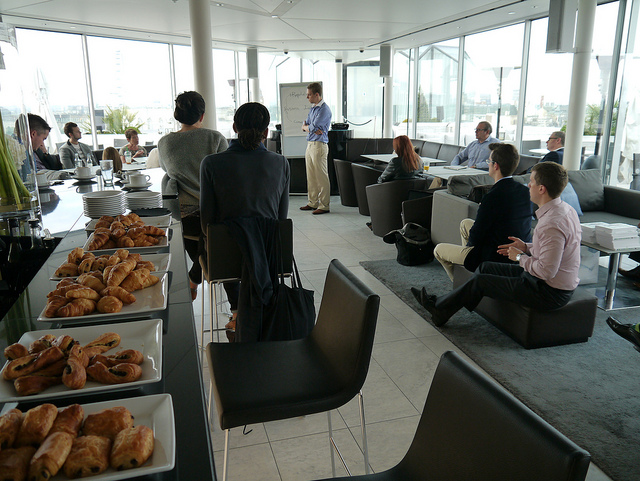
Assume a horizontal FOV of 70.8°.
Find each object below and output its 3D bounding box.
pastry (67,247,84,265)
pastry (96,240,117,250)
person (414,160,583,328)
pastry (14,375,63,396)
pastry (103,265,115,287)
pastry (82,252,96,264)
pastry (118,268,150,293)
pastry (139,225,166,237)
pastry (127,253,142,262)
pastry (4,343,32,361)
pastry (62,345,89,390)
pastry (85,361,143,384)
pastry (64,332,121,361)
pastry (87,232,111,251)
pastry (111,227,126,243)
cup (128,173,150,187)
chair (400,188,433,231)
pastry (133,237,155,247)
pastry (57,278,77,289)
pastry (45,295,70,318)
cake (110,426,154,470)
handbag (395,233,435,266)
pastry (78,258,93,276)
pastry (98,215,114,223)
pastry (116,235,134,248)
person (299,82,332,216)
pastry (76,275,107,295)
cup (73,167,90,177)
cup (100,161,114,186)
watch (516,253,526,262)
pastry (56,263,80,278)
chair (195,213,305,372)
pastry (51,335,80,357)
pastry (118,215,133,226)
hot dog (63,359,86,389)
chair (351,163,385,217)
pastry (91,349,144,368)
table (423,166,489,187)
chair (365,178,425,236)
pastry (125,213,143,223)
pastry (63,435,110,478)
[{"bbox_3d":[-0.952,0.062,1.752,0.061,0.064,0.023,3,-8,24],"label":"pastry"},{"bbox_3d":[-0.930,0.019,1.978,0.032,0.025,0.064,19,29,26],"label":"pastry"},{"bbox_3d":[1.451,-0.072,3.699,1.357,1.553,0.682,11,21,44],"label":"person"},{"bbox_3d":[-0.683,0.339,1.080,0.079,0.033,0.047,-5,23,-25],"label":"pastry"},{"bbox_3d":[-0.719,0.112,1.541,0.045,0.029,0.088,5,10,1],"label":"pastry"},{"bbox_3d":[-0.874,0.062,1.694,0.044,0.047,0.014,7,9,34],"label":"pastry"},{"bbox_3d":[-0.652,0.133,1.573,0.058,0.044,0.110,-18,14,17],"label":"pastry"},{"bbox_3d":[-0.783,-0.051,2.143,0.083,0.033,0.049,8,9,10],"label":"pastry"},{"bbox_3d":[-0.714,0.057,1.735,0.038,0.015,0.038,8,10,-7],"label":"pastry"},{"bbox_3d":[-0.786,0.283,1.154,0.041,0.021,0.055,1,5,-8],"label":"pastry"},{"bbox_3d":[-0.597,0.312,1.120,0.066,0.048,0.159,4,47,-24],"label":"pastry"},{"bbox_3d":[-0.519,0.326,1.121,0.083,0.033,0.064,3,2,-4],"label":"pastry"},{"bbox_3d":[-0.606,0.279,1.228,0.125,0.044,0.109,3,10,8],"label":"pastry"},{"bbox_3d":[-0.963,-0.001,1.957,0.059,0.043,0.114,-18,21,5],"label":"pastry"},{"bbox_3d":[-0.914,-0.021,2.016,0.045,0.020,0.061,-1,13,-8],"label":"pastry"},{"bbox_3d":[-1.353,-0.449,3.370,0.158,0.112,0.120,-2,9,-23],"label":"cup"},{"bbox_3d":[1.191,-0.342,5.212,0.435,0.430,0.424,10,-9,-23],"label":"chair"},{"bbox_3d":[-0.808,0.007,2.026,0.070,0.026,0.038,7,16,5],"label":"pastry"},{"bbox_3d":[-0.856,0.137,1.509,0.038,0.013,0.038,-9,16,-40],"label":"pastry"},{"bbox_3d":[-0.811,0.191,1.380,0.048,0.036,0.091,-1,25,-21],"label":"pastry"},{"bbox_3d":[-0.398,0.429,0.963,0.081,0.044,0.120,7,9,-6],"label":"cake"},{"bbox_3d":[1.040,0.051,5.026,0.515,0.381,0.387,-5,5,-20],"label":"handbag"},{"bbox_3d":[-0.860,0.093,1.645,0.042,0.055,0.017,2,-28,0],"label":"pastry"},{"bbox_3d":[-1.089,-0.109,2.282,0.056,0.019,0.061,0,9,-15],"label":"pastry"},{"bbox_3d":[-0.875,0.002,1.993,0.077,0.031,0.041,9,16,43],"label":"pastry"},{"bbox_3d":[-0.025,-1.473,7.331,0.468,2.036,0.530,-6,18,-11],"label":"person"},{"bbox_3d":[-0.768,0.137,1.497,0.098,0.041,0.052,18,7,17],"label":"pastry"},{"bbox_3d":[-2.125,-0.609,3.983,0.101,0.075,0.077,-4,15,-21],"label":"cup"},{"bbox_3d":[-1.636,-0.517,3.454,0.081,0.197,0.192,-11,19,-25],"label":"cup"},{"bbox_3d":[1.438,0.113,3.217,0.061,0.049,0.043,-15,21,-34],"label":"watch"},{"bbox_3d":[-0.928,0.109,1.660,0.081,0.034,0.070,4,19,20],"label":"pastry"},{"bbox_3d":[-0.450,0.009,2.738,0.545,1.000,0.520,-1,-12,-11],"label":"chair"},{"bbox_3d":[-0.668,0.267,1.183,0.052,0.021,0.055,0,12,-33],"label":"pastry"},{"bbox_3d":[-0.958,-0.106,2.207,0.048,0.023,0.065,3,24,-25],"label":"pastry"},{"bbox_3d":[-0.600,0.325,1.095,0.048,0.066,0.026,-3,-20,-7],"label":"hot dog"},{"bbox_3d":[0.892,-0.837,7.007,0.687,0.745,0.586,-9,25,-11],"label":"chair"},{"bbox_3d":[-0.529,0.305,1.172,0.073,0.031,0.056,-1,5,-22],"label":"pastry"},{"bbox_3d":[1.943,-0.914,6.414,0.830,0.238,0.878,4,19,20],"label":"table"},{"bbox_3d":[1.013,-0.487,6.133,0.648,0.686,0.773,-2,11,0],"label":"chair"},{"bbox_3d":[-0.923,-0.119,2.236,0.054,0.023,0.056,11,7,7],"label":"pastry"},{"bbox_3d":[-0.462,0.427,0.916,0.072,0.052,0.097,-1,11,-12],"label":"pastry"}]
